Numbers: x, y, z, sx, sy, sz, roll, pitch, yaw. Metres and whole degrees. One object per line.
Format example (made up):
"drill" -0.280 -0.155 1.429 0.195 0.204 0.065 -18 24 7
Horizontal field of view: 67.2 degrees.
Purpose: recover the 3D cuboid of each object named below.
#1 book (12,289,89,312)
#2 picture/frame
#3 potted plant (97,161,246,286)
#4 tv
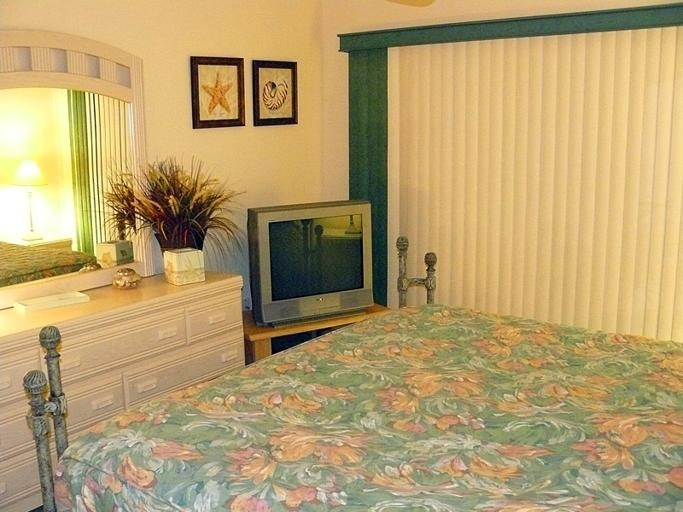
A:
"book" -1.589 0.233 2.832 0.262 0.026 0.136 -8 14 -40
"picture/frame" -0.733 -1.274 4.045 0.059 0.602 1.053 7 12 39
"potted plant" -1.061 -0.238 3.481 0.774 0.561 0.802 -11 16 -40
"tv" -0.227 0.070 3.823 1.221 0.779 0.546 -6 14 -26
